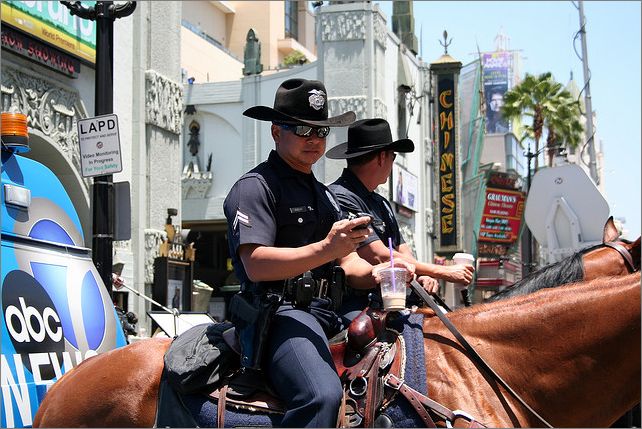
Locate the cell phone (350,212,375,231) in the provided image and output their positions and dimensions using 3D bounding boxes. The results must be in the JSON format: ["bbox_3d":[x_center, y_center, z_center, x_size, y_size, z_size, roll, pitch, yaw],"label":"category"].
[{"bbox_3d":[0.408,0.067,10.430,0.213,0.166,0.081,1,22,2],"label":"cell phone"}]

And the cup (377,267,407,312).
[{"bbox_3d":[0.767,0.799,10.740,0.388,0.465,0.389,-1,-8,0],"label":"cup"}]

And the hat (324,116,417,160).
[{"bbox_3d":[0.580,-0.916,12.514,0.724,0.320,0.652,-10,12,9],"label":"hat"}]

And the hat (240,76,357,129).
[{"bbox_3d":[-0.311,-1.195,11.064,0.747,0.318,0.675,-2,-1,29],"label":"hat"}]
